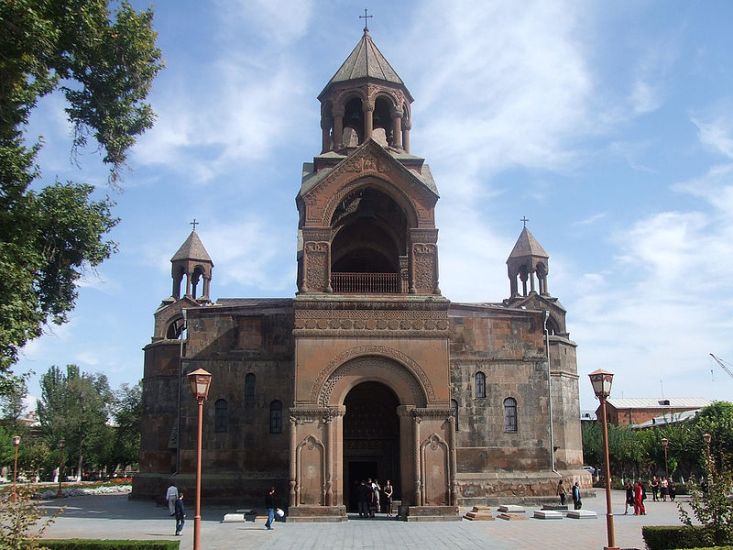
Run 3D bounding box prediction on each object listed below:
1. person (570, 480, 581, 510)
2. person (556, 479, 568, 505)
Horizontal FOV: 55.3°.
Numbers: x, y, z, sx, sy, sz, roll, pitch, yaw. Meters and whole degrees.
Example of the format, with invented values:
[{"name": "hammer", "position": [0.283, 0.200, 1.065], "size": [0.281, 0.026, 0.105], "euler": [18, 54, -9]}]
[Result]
[{"name": "person", "position": [9.885, 10.337, 32.777], "size": [0.345, 1.323, 1.829], "euler": [-6, -21, 14]}, {"name": "person", "position": [9.702, 10.739, 34.572], "size": [0.426, 1.292, 1.561], "euler": [-6, -21, 13]}]
